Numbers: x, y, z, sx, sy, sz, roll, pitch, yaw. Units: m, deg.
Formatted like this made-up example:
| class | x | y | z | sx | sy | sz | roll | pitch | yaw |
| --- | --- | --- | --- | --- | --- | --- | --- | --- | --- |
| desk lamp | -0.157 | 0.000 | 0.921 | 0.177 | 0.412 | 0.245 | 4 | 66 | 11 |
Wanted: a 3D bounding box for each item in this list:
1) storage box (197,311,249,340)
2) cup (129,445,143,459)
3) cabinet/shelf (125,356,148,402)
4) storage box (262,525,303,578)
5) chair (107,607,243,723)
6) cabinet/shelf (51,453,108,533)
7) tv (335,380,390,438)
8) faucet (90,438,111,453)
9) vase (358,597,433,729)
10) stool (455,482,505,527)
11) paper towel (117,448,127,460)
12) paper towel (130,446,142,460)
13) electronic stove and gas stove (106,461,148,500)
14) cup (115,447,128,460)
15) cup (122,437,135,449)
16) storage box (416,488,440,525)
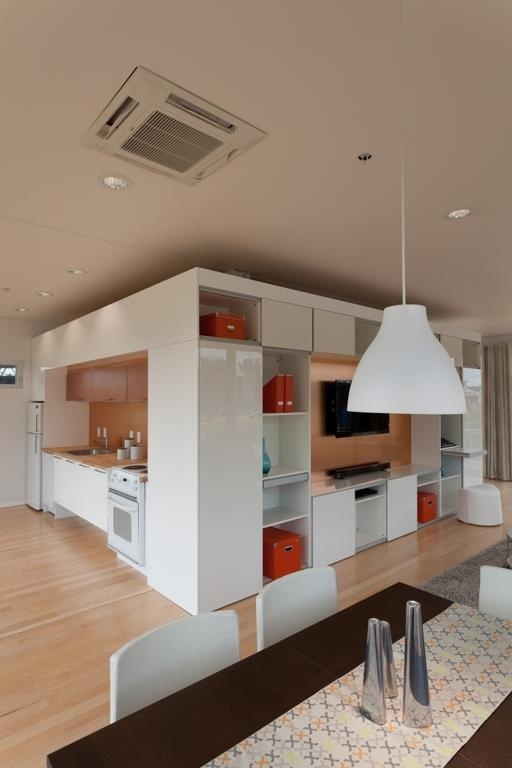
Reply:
| class | x | y | z | sx | sy | sz | roll | pitch | yaw |
| --- | --- | --- | --- | --- | --- | --- | --- | --- | --- |
| storage box | -0.246 | -0.350 | 3.501 | 0.205 | 0.130 | 0.204 | 1 | -1 | -39 |
| cup | -1.109 | 0.634 | 5.069 | 0.114 | 0.112 | 0.107 | -1 | -3 | 0 |
| cabinet/shelf | -0.978 | -0.038 | 4.489 | 0.139 | 0.356 | 0.379 | 2 | 0 | -17 |
| storage box | 0.131 | 1.199 | 4.007 | 0.356 | 0.275 | 0.360 | 1 | -3 | -38 |
| chair | -0.256 | 0.788 | 1.738 | 0.274 | 0.486 | 0.320 | 2 | -5 | -29 |
| cabinet/shelf | -1.667 | 1.026 | 5.169 | 0.394 | 0.362 | 0.729 | 3 | -1 | -40 |
| tv | 0.991 | 0.252 | 5.068 | 0.781 | 0.474 | 0.068 | 1 | 2 | -40 |
| faucet | -1.766 | 0.682 | 6.257 | 0.125 | 0.160 | 0.420 | 0 | 4 | -35 |
| vase | 0.348 | 0.675 | 1.365 | 0.177 | 0.313 | 0.175 | 2 | 0 | -27 |
| stool | 2.334 | 1.265 | 5.703 | 0.361 | 0.310 | 0.392 | 1 | -7 | -31 |
| paper towel | -1.242 | 0.656 | 5.091 | 0.088 | 0.099 | 0.090 | -1 | -6 | 2 |
| paper towel | -1.101 | 0.628 | 5.022 | 0.112 | 0.116 | 0.104 | 0 | -2 | 4 |
| electronic stove and gas stove | -0.946 | 0.721 | 4.051 | 0.222 | 0.171 | 0.324 | 8 | -13 | -31 |
| cup | -1.257 | 0.647 | 5.107 | 0.105 | 0.102 | 0.104 | 0 | -5 | 0 |
| cup | -1.300 | 0.593 | 5.497 | 0.117 | 0.137 | 0.119 | 0 | -6 | 0 |
| storage box | 1.753 | 1.243 | 5.688 | 0.325 | 0.330 | 0.260 | -1 | 0 | -38 |
